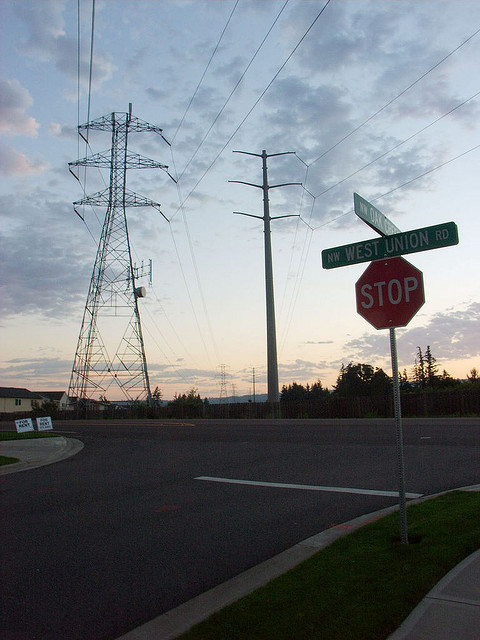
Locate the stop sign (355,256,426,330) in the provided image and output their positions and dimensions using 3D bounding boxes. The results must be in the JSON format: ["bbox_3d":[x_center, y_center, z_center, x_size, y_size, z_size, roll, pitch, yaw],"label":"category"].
[{"bbox_3d":[1.423,-0.258,5.126,0.734,0.768,0.054,-6,-13,37],"label":"stop sign"}]
